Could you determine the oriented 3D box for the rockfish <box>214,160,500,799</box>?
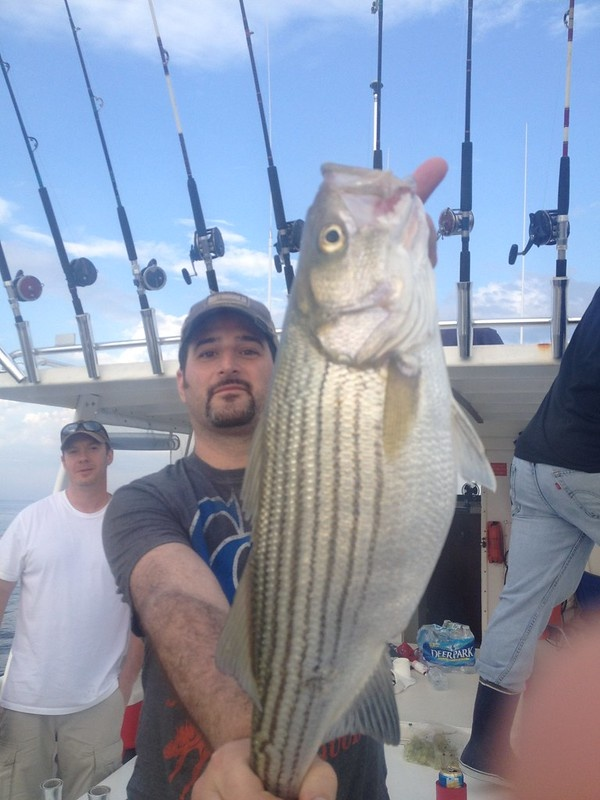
[{"bbox_3d":[0.057,0.117,1.162,0.403,0.899,0.334,-11,19,-21],"label":"rockfish"}]
